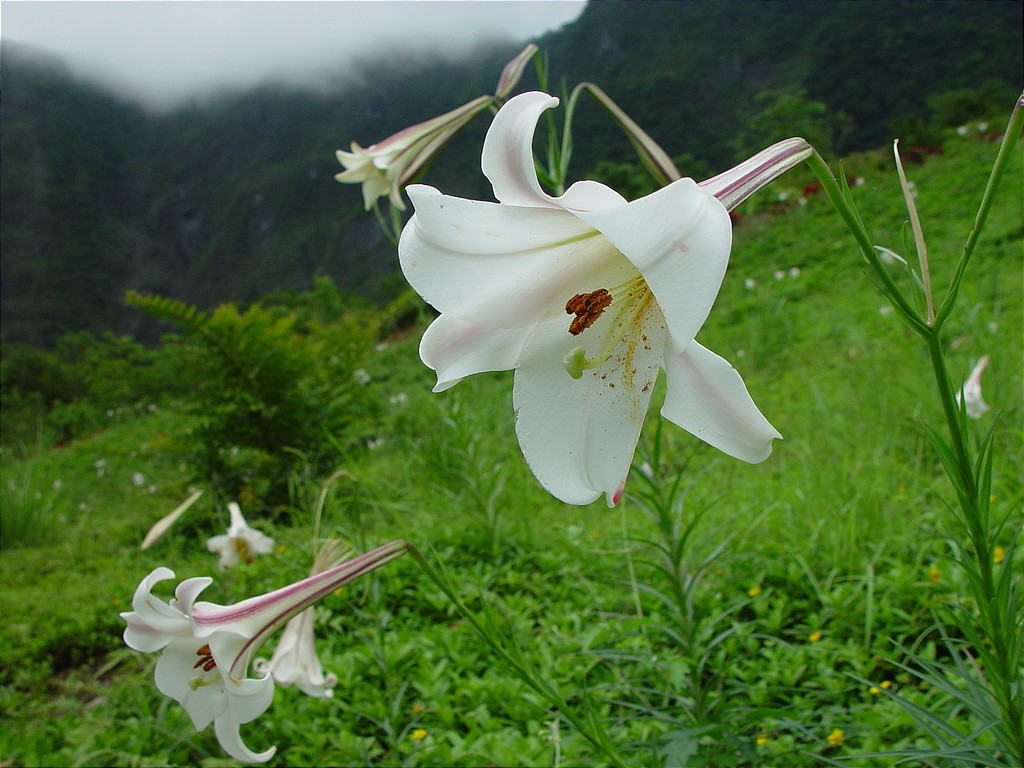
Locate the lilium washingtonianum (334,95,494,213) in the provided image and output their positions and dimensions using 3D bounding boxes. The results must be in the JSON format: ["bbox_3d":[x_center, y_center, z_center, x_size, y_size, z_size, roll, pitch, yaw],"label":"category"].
[{"bbox_3d":[-0.379,-0.809,3.184,0.599,0.296,0.331,-39,57,-14],"label":"lilium washingtonianum"}]

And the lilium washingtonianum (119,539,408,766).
[{"bbox_3d":[-0.513,0.560,2.111,0.719,0.453,0.450,-28,-18,-14],"label":"lilium washingtonianum"}]

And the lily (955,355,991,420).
[{"bbox_3d":[1.501,0.019,2.826,0.130,0.213,0.049,-10,10,-7],"label":"lily"}]

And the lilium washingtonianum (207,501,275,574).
[{"bbox_3d":[-0.937,0.546,3.026,0.206,0.317,0.171,-9,7,-35],"label":"lilium washingtonianum"}]

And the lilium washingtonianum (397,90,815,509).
[{"bbox_3d":[0.308,-0.050,1.995,0.727,0.794,1.148,-4,-15,40],"label":"lilium washingtonianum"}]
